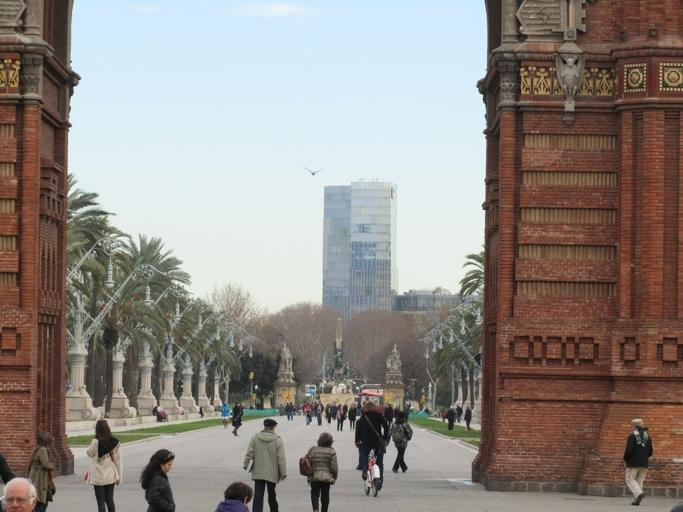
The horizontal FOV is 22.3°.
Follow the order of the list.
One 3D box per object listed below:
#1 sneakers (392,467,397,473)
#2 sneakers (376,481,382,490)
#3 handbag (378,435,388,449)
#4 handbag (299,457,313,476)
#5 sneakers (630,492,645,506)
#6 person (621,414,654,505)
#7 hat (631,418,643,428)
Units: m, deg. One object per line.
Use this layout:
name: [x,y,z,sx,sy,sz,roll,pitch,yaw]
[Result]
sneakers: [1.672,6.437,52.363,0.110,0.171,0.177,-12,-20,-17]
sneakers: [0.983,6.050,45.778,0.217,0.248,0.218,1,1,9]
handbag: [1.110,5.070,47.113,0.231,0.307,0.089,-5,-3,-42]
handbag: [-0.813,5.096,41.843,0.289,0.494,0.538,-1,-5,0]
sneakers: [7.682,6.257,44.444,0.190,0.448,0.167,28,-9,2]
person: [7.796,5.317,45.016,0.753,2.197,1.578,-2,-5,10]
hat: [7.761,4.322,44.941,0.237,0.122,0.335,1,2,8]
